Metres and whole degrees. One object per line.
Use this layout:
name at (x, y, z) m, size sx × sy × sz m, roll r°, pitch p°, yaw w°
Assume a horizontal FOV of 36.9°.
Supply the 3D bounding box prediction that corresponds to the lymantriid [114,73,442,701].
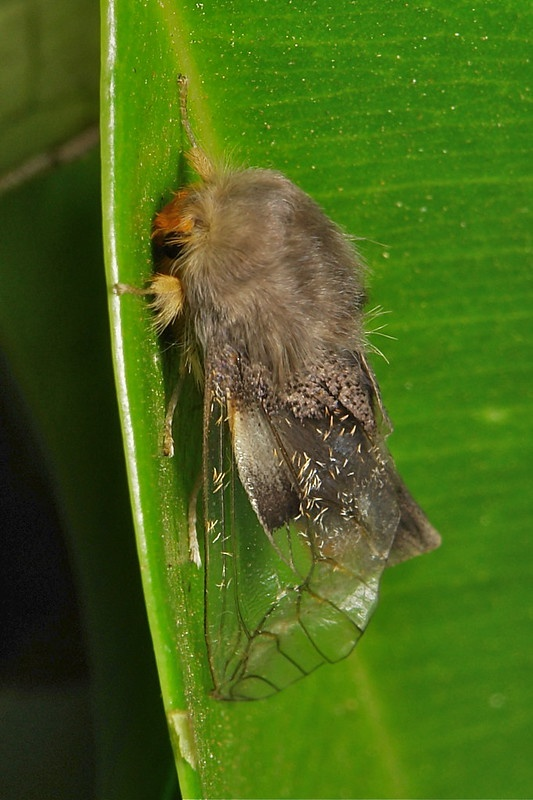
lymantriid at (0.003, -0.017, 0.805) m, size 0.244 × 0.222 × 0.609 m, roll -9°, pitch 74°, yaw 1°
